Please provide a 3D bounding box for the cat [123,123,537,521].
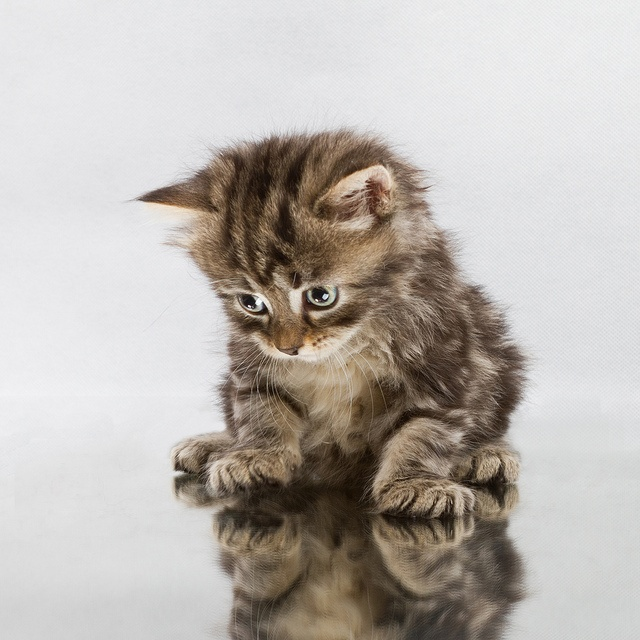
[{"bbox_3d":[0.031,-0.030,2.594,1.019,1.038,0.753,-1,7,9],"label":"cat"}]
